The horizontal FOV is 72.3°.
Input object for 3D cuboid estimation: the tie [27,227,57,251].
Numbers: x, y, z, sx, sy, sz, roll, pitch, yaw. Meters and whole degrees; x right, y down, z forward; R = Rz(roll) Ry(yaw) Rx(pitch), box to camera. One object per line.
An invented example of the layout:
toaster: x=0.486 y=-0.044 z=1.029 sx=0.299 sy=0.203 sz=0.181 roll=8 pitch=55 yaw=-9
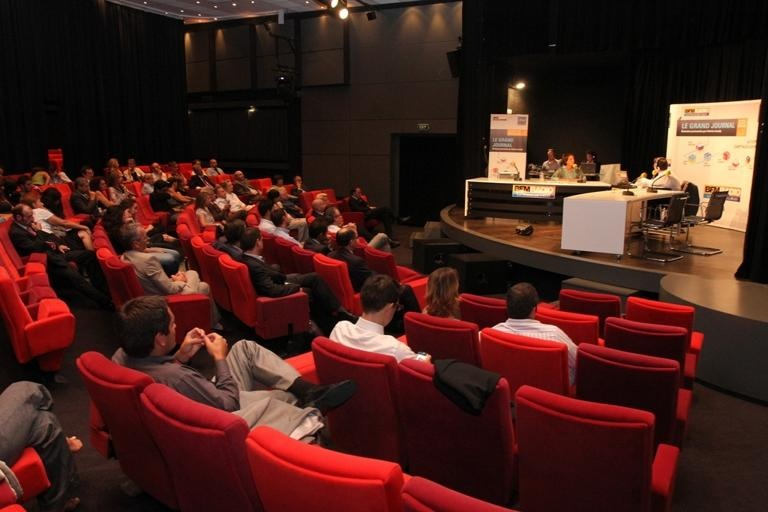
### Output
tie: x=-4.178 y=-0.193 z=6.385 sx=0.167 sy=0.183 sz=0.547 roll=14 pitch=9 yaw=-15

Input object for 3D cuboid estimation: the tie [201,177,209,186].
tie: x=-4.264 y=-1.769 z=12.523 sx=0.070 sy=0.221 sz=0.230 roll=-30 pitch=-12 yaw=12
